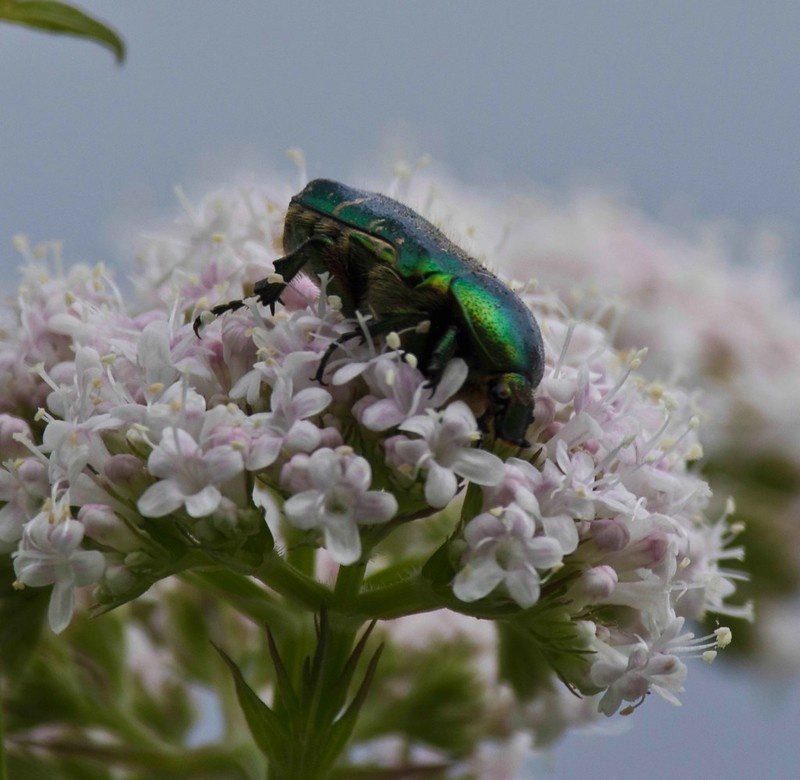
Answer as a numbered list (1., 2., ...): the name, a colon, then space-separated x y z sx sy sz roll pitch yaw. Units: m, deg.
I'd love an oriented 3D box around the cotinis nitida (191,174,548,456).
1. cotinis nitida: 0.002 -0.105 1.559 0.375 0.339 0.118 7 -30 7
